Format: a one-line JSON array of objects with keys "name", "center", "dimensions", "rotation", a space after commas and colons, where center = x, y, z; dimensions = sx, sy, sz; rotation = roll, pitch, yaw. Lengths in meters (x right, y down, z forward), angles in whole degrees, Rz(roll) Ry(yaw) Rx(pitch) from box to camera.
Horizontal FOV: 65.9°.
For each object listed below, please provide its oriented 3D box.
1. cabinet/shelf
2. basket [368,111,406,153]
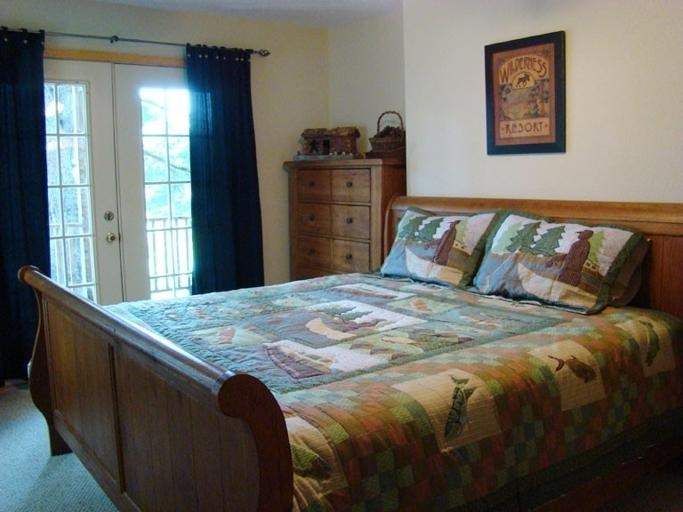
[{"name": "cabinet/shelf", "center": [0.037, -0.273, 4.486], "dimensions": [1.076, 1.057, 0.429], "rotation": [8, 13, 43]}, {"name": "basket", "center": [0.378, -0.977, 4.131], "dimensions": [0.267, 0.276, 0.280], "rotation": [2, 26, 2]}]
